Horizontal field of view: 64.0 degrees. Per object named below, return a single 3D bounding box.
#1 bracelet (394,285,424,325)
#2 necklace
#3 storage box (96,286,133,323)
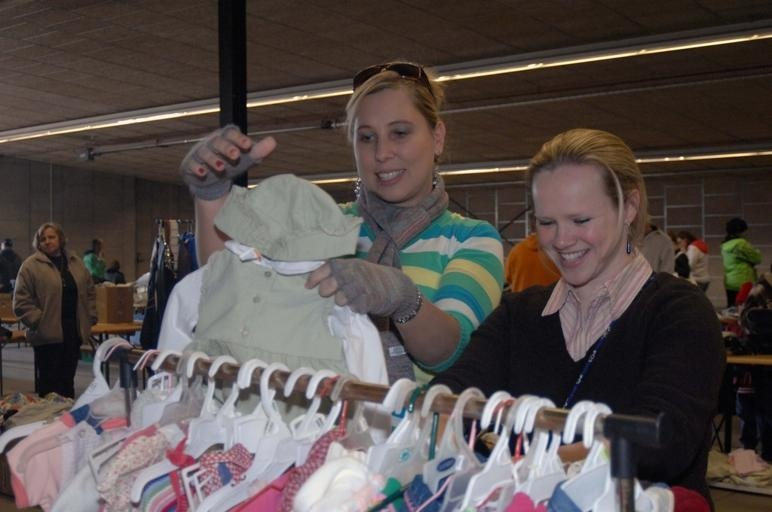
[{"bbox_3d":[0.069,0.142,1.907,0.102,0.037,0.087,-47,-3,-41],"label":"bracelet"},{"bbox_3d":[0.647,0.367,2.084,0.019,0.341,0.038,33,-7,-34],"label":"necklace"},{"bbox_3d":[-3.404,0.618,7.825,0.442,0.442,0.468,-20,-21,33],"label":"storage box"}]
